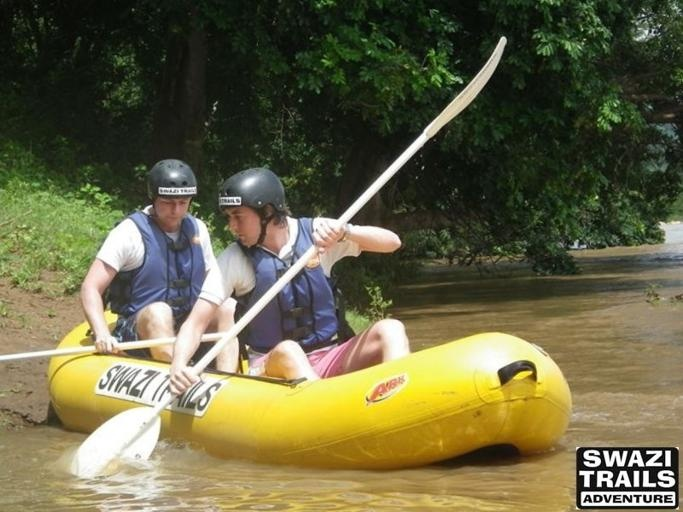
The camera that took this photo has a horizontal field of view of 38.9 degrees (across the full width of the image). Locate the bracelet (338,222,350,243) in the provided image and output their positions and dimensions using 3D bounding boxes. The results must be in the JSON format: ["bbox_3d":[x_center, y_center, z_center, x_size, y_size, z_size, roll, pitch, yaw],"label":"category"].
[{"bbox_3d":[0.029,-0.199,8.411,0.034,0.129,0.122,21,-29,2],"label":"bracelet"}]

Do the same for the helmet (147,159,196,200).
[{"bbox_3d":[-1.649,-0.744,9.413,0.334,0.433,0.449,-1,6,-18],"label":"helmet"}]
